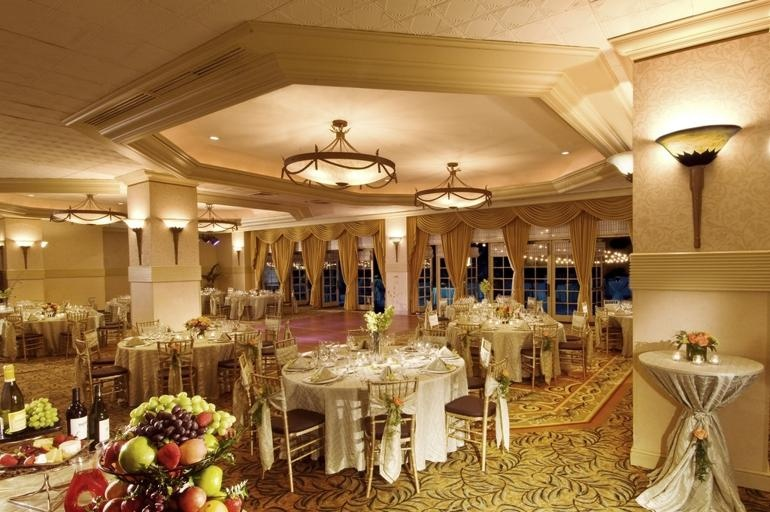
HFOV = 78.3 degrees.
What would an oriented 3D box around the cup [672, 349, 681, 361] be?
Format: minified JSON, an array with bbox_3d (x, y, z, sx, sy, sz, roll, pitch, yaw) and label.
[{"bbox_3d":[3.156,1.089,5.160,0.099,0.095,0.095,0,-7,0],"label":"cup"}]

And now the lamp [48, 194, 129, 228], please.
[{"bbox_3d":[-7.951,-1.256,12.641,1.146,0.518,1.129,0,0,-42],"label":"lamp"}]

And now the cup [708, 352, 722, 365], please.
[{"bbox_3d":[3.469,1.085,4.986,0.112,0.086,0.116,-1,-4,0],"label":"cup"}]

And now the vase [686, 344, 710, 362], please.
[{"bbox_3d":[3.321,1.027,5.032,0.166,0.190,0.182,-2,-6,31],"label":"vase"}]

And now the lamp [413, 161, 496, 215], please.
[{"bbox_3d":[1.438,-1.767,10.487,1.360,0.757,1.348,4,-7,-29],"label":"lamp"}]

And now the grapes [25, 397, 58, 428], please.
[{"bbox_3d":[-2.830,1.295,3.901,0.208,0.226,0.186,-9,11,-40],"label":"grapes"}]

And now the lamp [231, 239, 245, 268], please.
[{"bbox_3d":[-6.338,-0.149,20.517,0.679,1.176,0.162,4,10,34],"label":"lamp"}]

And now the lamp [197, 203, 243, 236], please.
[{"bbox_3d":[-5.595,-1.118,16.049,1.749,0.786,1.784,2,5,41],"label":"lamp"}]

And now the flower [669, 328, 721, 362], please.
[{"bbox_3d":[3.335,0.968,5.111,0.364,0.262,0.359,3,-4,-34],"label":"flower"}]

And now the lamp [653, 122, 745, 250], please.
[{"bbox_3d":[3.478,-0.772,5.330,0.751,1.367,0.426,3,10,32],"label":"lamp"}]

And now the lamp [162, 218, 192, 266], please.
[{"bbox_3d":[-4.305,-0.314,9.888,0.178,0.965,0.530,3,10,31],"label":"lamp"}]

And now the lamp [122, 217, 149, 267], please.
[{"bbox_3d":[-5.101,-0.296,9.722,0.574,0.979,0.195,6,12,43],"label":"lamp"}]

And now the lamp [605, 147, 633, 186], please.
[{"bbox_3d":[4.462,-1.728,9.001,0.413,0.539,1.157,2,8,26],"label":"lamp"}]

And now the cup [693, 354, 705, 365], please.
[{"bbox_3d":[3.282,1.089,4.958,0.113,0.101,0.074,-1,-3,44],"label":"cup"}]

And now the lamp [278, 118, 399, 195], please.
[{"bbox_3d":[-0.696,-1.632,7.729,1.470,0.771,1.500,-1,-3,12],"label":"lamp"}]

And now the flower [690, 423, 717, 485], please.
[{"bbox_3d":[3.300,2.058,4.936,0.160,0.561,0.127,1,9,17],"label":"flower"}]

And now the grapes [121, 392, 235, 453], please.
[{"bbox_3d":[-1.375,1.133,3.196,0.568,0.462,0.317,26,42,-7],"label":"grapes"}]
